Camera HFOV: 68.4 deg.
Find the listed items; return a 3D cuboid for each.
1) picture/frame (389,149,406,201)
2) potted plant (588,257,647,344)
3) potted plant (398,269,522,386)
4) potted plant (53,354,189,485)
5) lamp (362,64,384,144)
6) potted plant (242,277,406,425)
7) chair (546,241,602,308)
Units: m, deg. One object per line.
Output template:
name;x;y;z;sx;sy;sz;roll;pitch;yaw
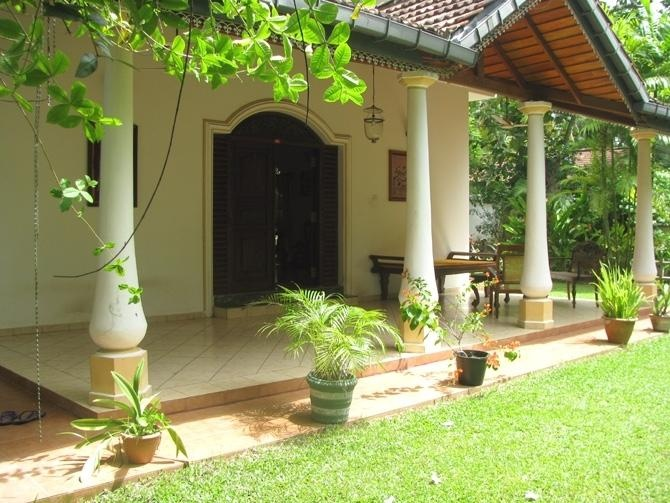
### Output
picture/frame;1.294;-1.570;10.291;0.462;1.065;0.093;-2;5;-32
potted plant;4.207;0.860;7.449;0.610;0.977;0.759;3;-3;41
potted plant;1.338;0.929;5.688;1.191;1.147;1.461;2;0;-28
potted plant;-1.543;1.175;3.690;0.756;0.638;1.016;-1;6;-29
lamp;0.770;-2.910;9.620;0.430;1.524;0.882;2;5;5
potted plant;-0.037;0.974;4.378;1.187;1.086;1.284;-2;-12;26
chair;5.323;0.432;10.953;0.948;1.393;1.043;1;2;-7
